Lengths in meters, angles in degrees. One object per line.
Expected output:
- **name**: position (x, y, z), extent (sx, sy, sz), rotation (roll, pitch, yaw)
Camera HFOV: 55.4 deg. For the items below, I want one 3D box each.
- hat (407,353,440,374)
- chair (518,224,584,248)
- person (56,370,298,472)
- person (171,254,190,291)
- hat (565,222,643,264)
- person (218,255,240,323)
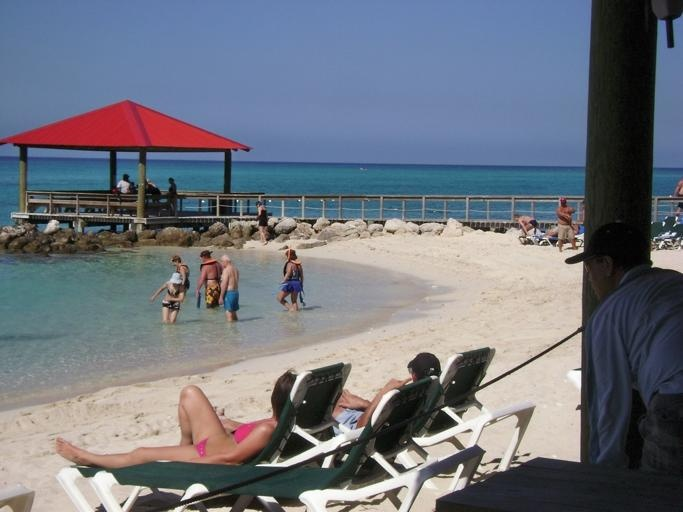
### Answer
- **hat**: position (0.626, 0.828, 4.986), extent (0.160, 0.098, 0.209), rotation (-1, 13, -44)
- **chair**: position (6.923, -0.642, 21.584), extent (1.964, 0.669, 1.123), rotation (1, 4, 16)
- **person**: position (-0.928, 1.201, 4.738), extent (2.025, 0.705, 0.690), rotation (1, -2, 13)
- **person**: position (-3.307, 0.361, 13.396), extent (0.274, 0.793, 0.649), rotation (-4, 8, -14)
- **hat**: position (1.140, -0.024, 2.890), extent (0.304, 0.126, 0.190), rotation (2, -17, 3)
- **person**: position (-2.339, 0.656, 13.476), extent (0.370, 1.461, 1.261), rotation (-3, 8, -11)
